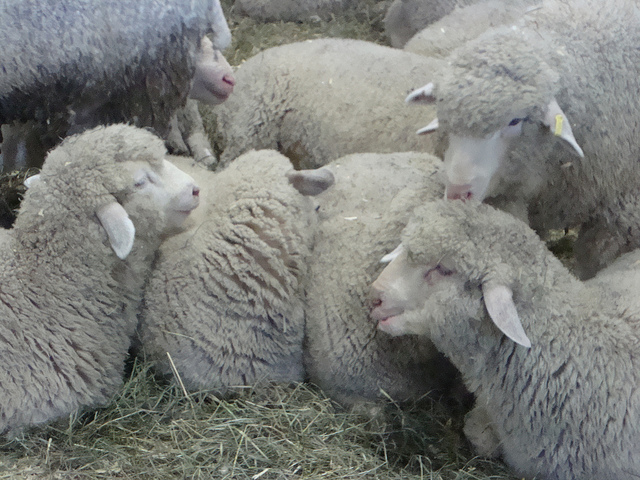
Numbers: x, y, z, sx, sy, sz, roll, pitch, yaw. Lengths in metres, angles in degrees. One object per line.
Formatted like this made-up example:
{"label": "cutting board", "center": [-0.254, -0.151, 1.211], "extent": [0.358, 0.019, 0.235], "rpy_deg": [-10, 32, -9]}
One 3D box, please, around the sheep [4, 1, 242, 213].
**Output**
{"label": "sheep", "center": [-0.678, -0.754, 3.991], "extent": [1.531, 0.791, 0.676], "rpy_deg": [2, 22, -14]}

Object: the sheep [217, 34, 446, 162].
{"label": "sheep", "center": [0.195, -0.696, 4.880], "extent": [1.555, 0.834, 0.729], "rpy_deg": [5, 27, 11]}

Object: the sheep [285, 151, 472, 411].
{"label": "sheep", "center": [0.264, 0.196, 4.099], "extent": [0.771, 1.232, 0.755], "rpy_deg": [2, -13, -2]}

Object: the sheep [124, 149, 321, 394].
{"label": "sheep", "center": [-0.405, 0.072, 3.958], "extent": [0.674, 0.830, 1.178], "rpy_deg": [4, 40, -18]}
